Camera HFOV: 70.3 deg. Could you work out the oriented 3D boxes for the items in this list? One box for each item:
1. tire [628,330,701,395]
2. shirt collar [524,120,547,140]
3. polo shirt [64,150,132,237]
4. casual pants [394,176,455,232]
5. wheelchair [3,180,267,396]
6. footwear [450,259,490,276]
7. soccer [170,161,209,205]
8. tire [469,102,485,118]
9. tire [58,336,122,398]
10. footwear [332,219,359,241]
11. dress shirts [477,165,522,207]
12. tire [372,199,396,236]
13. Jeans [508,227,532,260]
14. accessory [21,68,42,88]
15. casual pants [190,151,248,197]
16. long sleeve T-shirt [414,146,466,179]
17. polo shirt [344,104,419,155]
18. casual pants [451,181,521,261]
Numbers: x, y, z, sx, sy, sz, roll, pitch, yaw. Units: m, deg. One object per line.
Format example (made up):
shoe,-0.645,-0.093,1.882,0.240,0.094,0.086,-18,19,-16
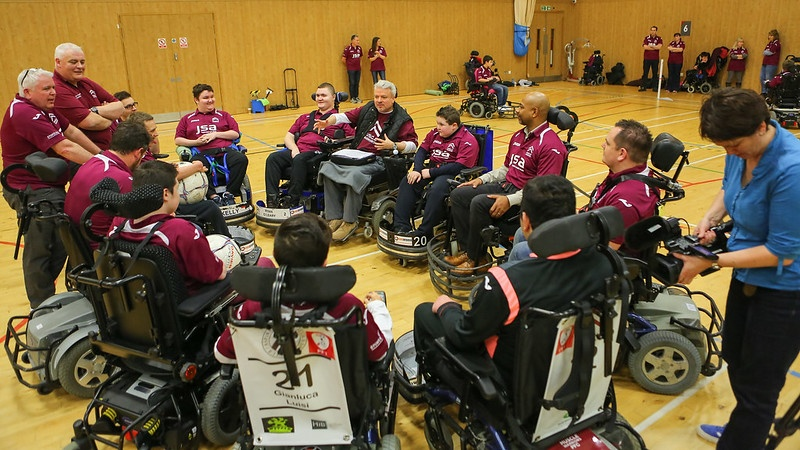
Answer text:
tire,2.885,1.468,6.179,0.597,0.613,0.206,-27,15,27
shirt collar,1.789,-1.266,7.605,0.185,0.095,0.258,-12,13,45
polo shirt,-3.222,-0.307,6.054,0.769,0.984,0.563,19,3,44
casual pants,0.276,-0.328,8.326,0.684,0.887,0.867,7,10,27
wheelchair,-2.904,0.722,5.949,0.955,1.474,2.014,12,27,25
footwear,0.964,0.587,7.714,0.571,0.243,0.211,3,5,-9
soccer,-2.911,-0.625,8.130,0.600,0.615,0.586,-1,7,6
tire,2.363,-3.562,17.568,0.151,0.465,0.449,-19,21,-40
tire,-3.317,1.484,6.012,0.719,0.777,0.237,-6,16,-32
footwear,-0.883,0.119,8.952,0.191,0.199,0.460,34,61,23
dress shirts,1.408,-0.467,7.852,0.578,0.689,0.498,2,51,-6
tire,-0.258,-0.116,8.701,0.185,0.530,0.530,-1,-4,34
Jeans,1.397,0.257,6.593,0.237,0.440,0.155,3,-4,28
accessory,-4.748,-1.900,7.339,0.217,0.272,0.283,19,20,32
casual pants,-2.969,-0.819,9.547,0.601,0.808,0.982,0,-12,-10
long sleeve T-shirt,0.565,-0.921,8.506,0.507,0.584,0.564,12,5,15
polo shirt,-0.349,-1.500,9.123,1.198,0.965,0.458,15,14,18
casual pants,1.001,-0.064,8.068,1.011,1.232,0.988,1,10,-7
